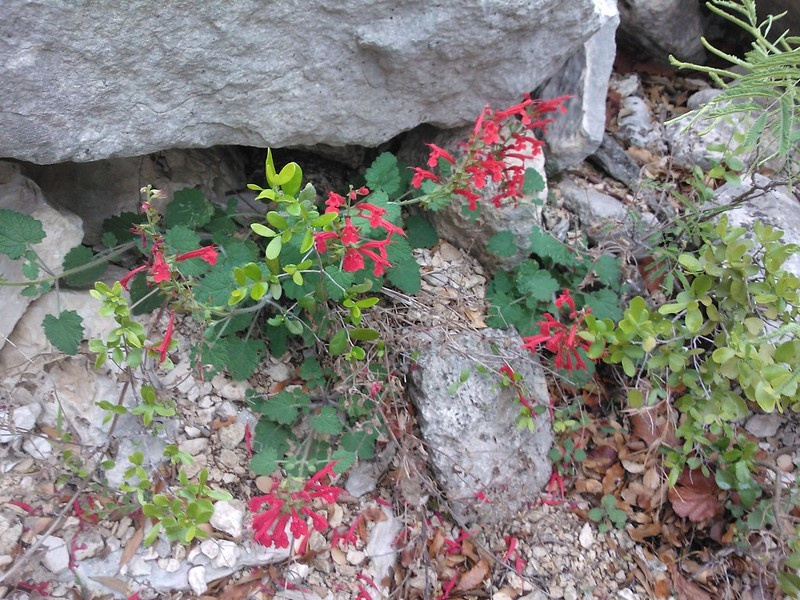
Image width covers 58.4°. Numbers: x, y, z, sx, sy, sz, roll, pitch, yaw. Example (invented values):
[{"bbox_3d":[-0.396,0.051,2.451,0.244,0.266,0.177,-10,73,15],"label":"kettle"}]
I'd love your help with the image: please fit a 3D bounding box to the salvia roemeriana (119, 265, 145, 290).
[{"bbox_3d":[-1.272,-0.100,3.402,0.123,0.032,0.057,-48,43,16],"label":"salvia roemeriana"}]
